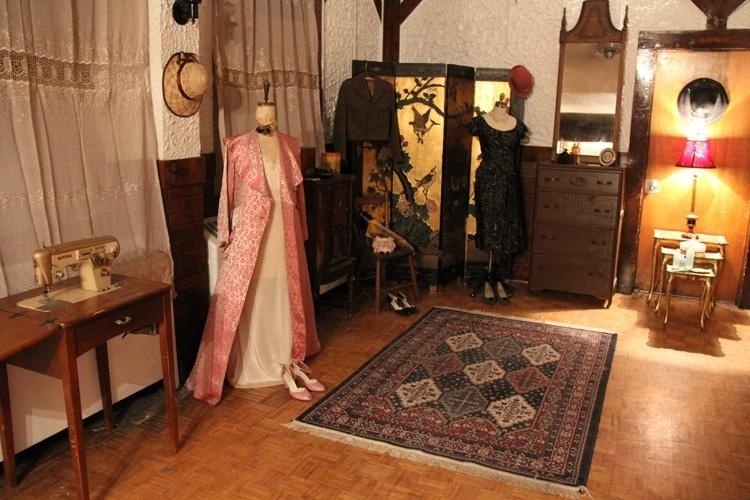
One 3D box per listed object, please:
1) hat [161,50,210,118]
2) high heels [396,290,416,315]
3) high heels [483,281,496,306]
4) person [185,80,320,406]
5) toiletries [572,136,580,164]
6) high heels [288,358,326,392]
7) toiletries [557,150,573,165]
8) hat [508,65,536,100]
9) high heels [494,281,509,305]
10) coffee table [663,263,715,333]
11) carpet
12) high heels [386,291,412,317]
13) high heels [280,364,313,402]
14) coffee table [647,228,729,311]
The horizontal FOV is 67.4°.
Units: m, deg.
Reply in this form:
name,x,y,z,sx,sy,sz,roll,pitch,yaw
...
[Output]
name,x,y,z,sx,sy,sz,roll,pitch,yaw
hat,-1.282,-1.126,3.838,0.161,0.436,0.315,9,20,30
high heels,0.271,0.498,5.403,0.130,0.093,0.230,-6,19,-33
high heels,1.161,0.425,5.684,0.124,0.127,0.326,2,17,10
person,-0.904,-0.063,3.941,0.969,2.142,0.665,-5,17,-13
toiletries,2.060,-0.994,5.764,0.075,0.207,0.290,5,17,19
high heels,-0.507,0.927,4.162,0.373,0.146,0.129,26,32,36
toiletries,1.917,-0.924,5.659,0.137,0.128,0.139,4,13,23
hat,1.517,-1.726,5.869,0.281,0.317,0.100,-25,10,-8
high heels,1.290,0.429,5.685,0.152,0.139,0.319,3,17,13
coffee table,2.860,0.410,5.124,0.411,0.550,0.512,8,19,29
carpet,0.735,1.012,4.209,1.808,0.182,2.127,7,18,26
high heels,0.232,0.523,5.433,0.116,0.131,0.308,-9,5,-24
high heels,-0.564,0.971,4.049,0.124,0.144,0.328,-12,29,-42
coffee table,2.972,0.126,5.465,0.866,0.813,0.723,1,6,8
